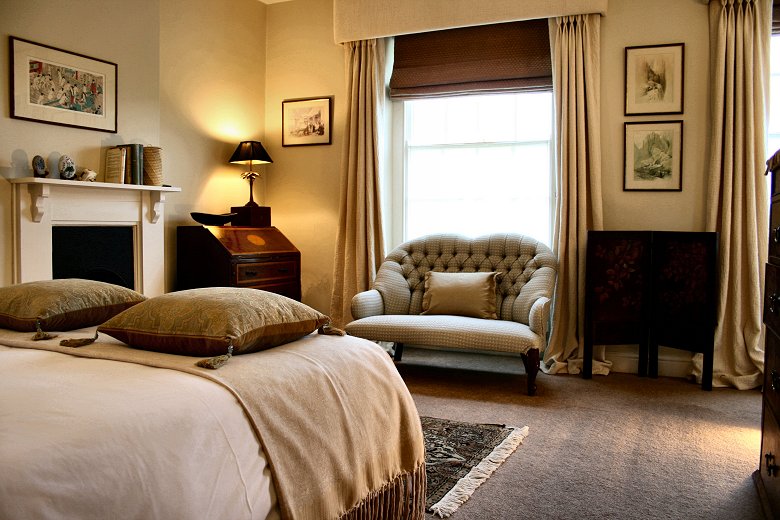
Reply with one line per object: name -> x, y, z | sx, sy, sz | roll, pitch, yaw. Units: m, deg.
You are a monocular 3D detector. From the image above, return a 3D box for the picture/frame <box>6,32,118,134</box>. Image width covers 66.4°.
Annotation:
picture/frame -> -2.393, -1.276, 4.281 | 0.033, 0.658, 0.864 | 1, 0, 33

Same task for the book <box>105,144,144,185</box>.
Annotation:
book -> -2.051, -0.738, 4.587 | 0.302, 0.298, 0.201 | -4, 9, -23

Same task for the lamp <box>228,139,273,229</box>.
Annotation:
lamp -> -1.316, -0.715, 5.617 | 0.404, 0.805, 0.401 | 0, 4, -7

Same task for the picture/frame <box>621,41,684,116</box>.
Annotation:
picture/frame -> 2.103, -1.452, 4.727 | 0.600, 0.758, 0.030 | 0, 0, 20

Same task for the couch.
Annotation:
couch -> 0.512, 0.369, 4.787 | 1.571, 1.122, 0.997 | 0, 3, 23

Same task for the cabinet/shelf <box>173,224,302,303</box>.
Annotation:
cabinet/shelf -> -1.320, 0.108, 5.323 | 0.669, 0.838, 0.909 | -2, 2, 26

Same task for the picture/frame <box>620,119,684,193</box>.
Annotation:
picture/frame -> 2.107, -0.835, 4.746 | 0.580, 0.798, 0.030 | 0, -2, 20

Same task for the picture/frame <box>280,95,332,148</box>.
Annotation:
picture/frame -> -0.798, -1.358, 5.788 | 0.526, 0.453, 0.043 | 1, 0, 23
